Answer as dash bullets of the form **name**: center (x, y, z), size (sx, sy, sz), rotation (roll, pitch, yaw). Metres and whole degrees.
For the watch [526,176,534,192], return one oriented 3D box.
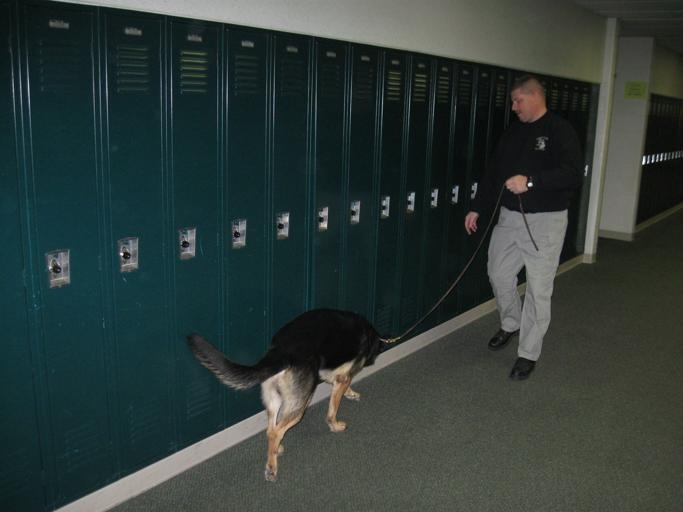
- **watch**: center (1.401, -0.551, 4.115), size (0.062, 0.100, 0.091), rotation (4, 22, 14)

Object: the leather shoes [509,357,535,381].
- **leather shoes**: center (1.437, 0.877, 4.355), size (0.103, 0.122, 0.284), rotation (13, 22, 39)

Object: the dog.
- **dog**: center (-0.246, 0.530, 3.588), size (0.431, 0.975, 2.032), rotation (11, 20, 28)
